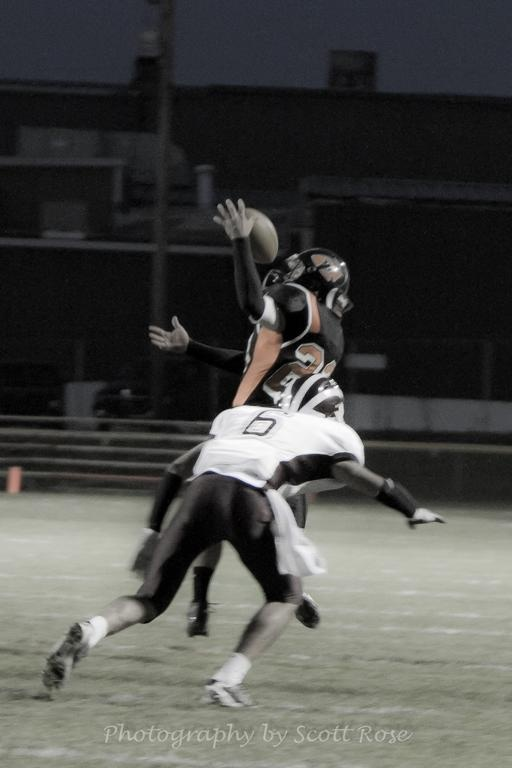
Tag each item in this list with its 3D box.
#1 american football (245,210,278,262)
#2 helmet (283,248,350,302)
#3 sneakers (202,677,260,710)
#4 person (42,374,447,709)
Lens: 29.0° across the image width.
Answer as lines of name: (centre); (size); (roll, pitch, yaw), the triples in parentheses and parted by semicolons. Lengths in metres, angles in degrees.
american football: (0.035, -0.683, 4.515); (0.067, 0.203, 0.218); (-22, -5, 6)
helmet: (0.303, -0.522, 4.672); (0.350, 0.272, 0.237); (-2, 4, 1)
sneakers: (-0.081, 1.167, 3.745); (0.183, 0.075, 0.216); (-15, -32, 26)
person: (-0.142, 0.674, 4.220); (1.914, 1.091, 0.966); (3, -8, -24)
